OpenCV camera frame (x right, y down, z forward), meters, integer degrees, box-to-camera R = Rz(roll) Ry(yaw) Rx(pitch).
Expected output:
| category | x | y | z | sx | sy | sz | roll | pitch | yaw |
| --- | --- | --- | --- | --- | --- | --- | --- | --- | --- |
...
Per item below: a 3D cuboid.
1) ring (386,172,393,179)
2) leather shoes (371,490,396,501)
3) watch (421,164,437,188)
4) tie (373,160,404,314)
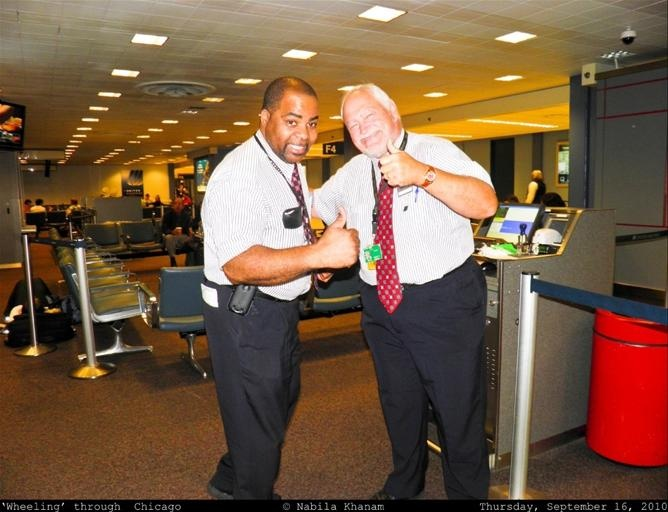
| category | x | y | z | sx | sy | sz | roll | pitch | yaw |
| --- | --- | --- | --- | --- | --- | --- | --- | --- | --- |
| ring | 0.219 | -0.321 | 1.904 | 0.014 | 0.026 | 0.032 | -10 | 14 | -34 |
| leather shoes | 0.257 | 1.321 | 2.636 | 0.146 | 0.051 | 0.051 | -17 | -22 | 41 |
| watch | 0.390 | -0.328 | 1.948 | 0.033 | 0.070 | 0.073 | 25 | -38 | -10 |
| tie | 0.243 | -0.049 | 2.251 | 0.175 | 0.572 | 0.032 | -1 | 2 | 20 |
